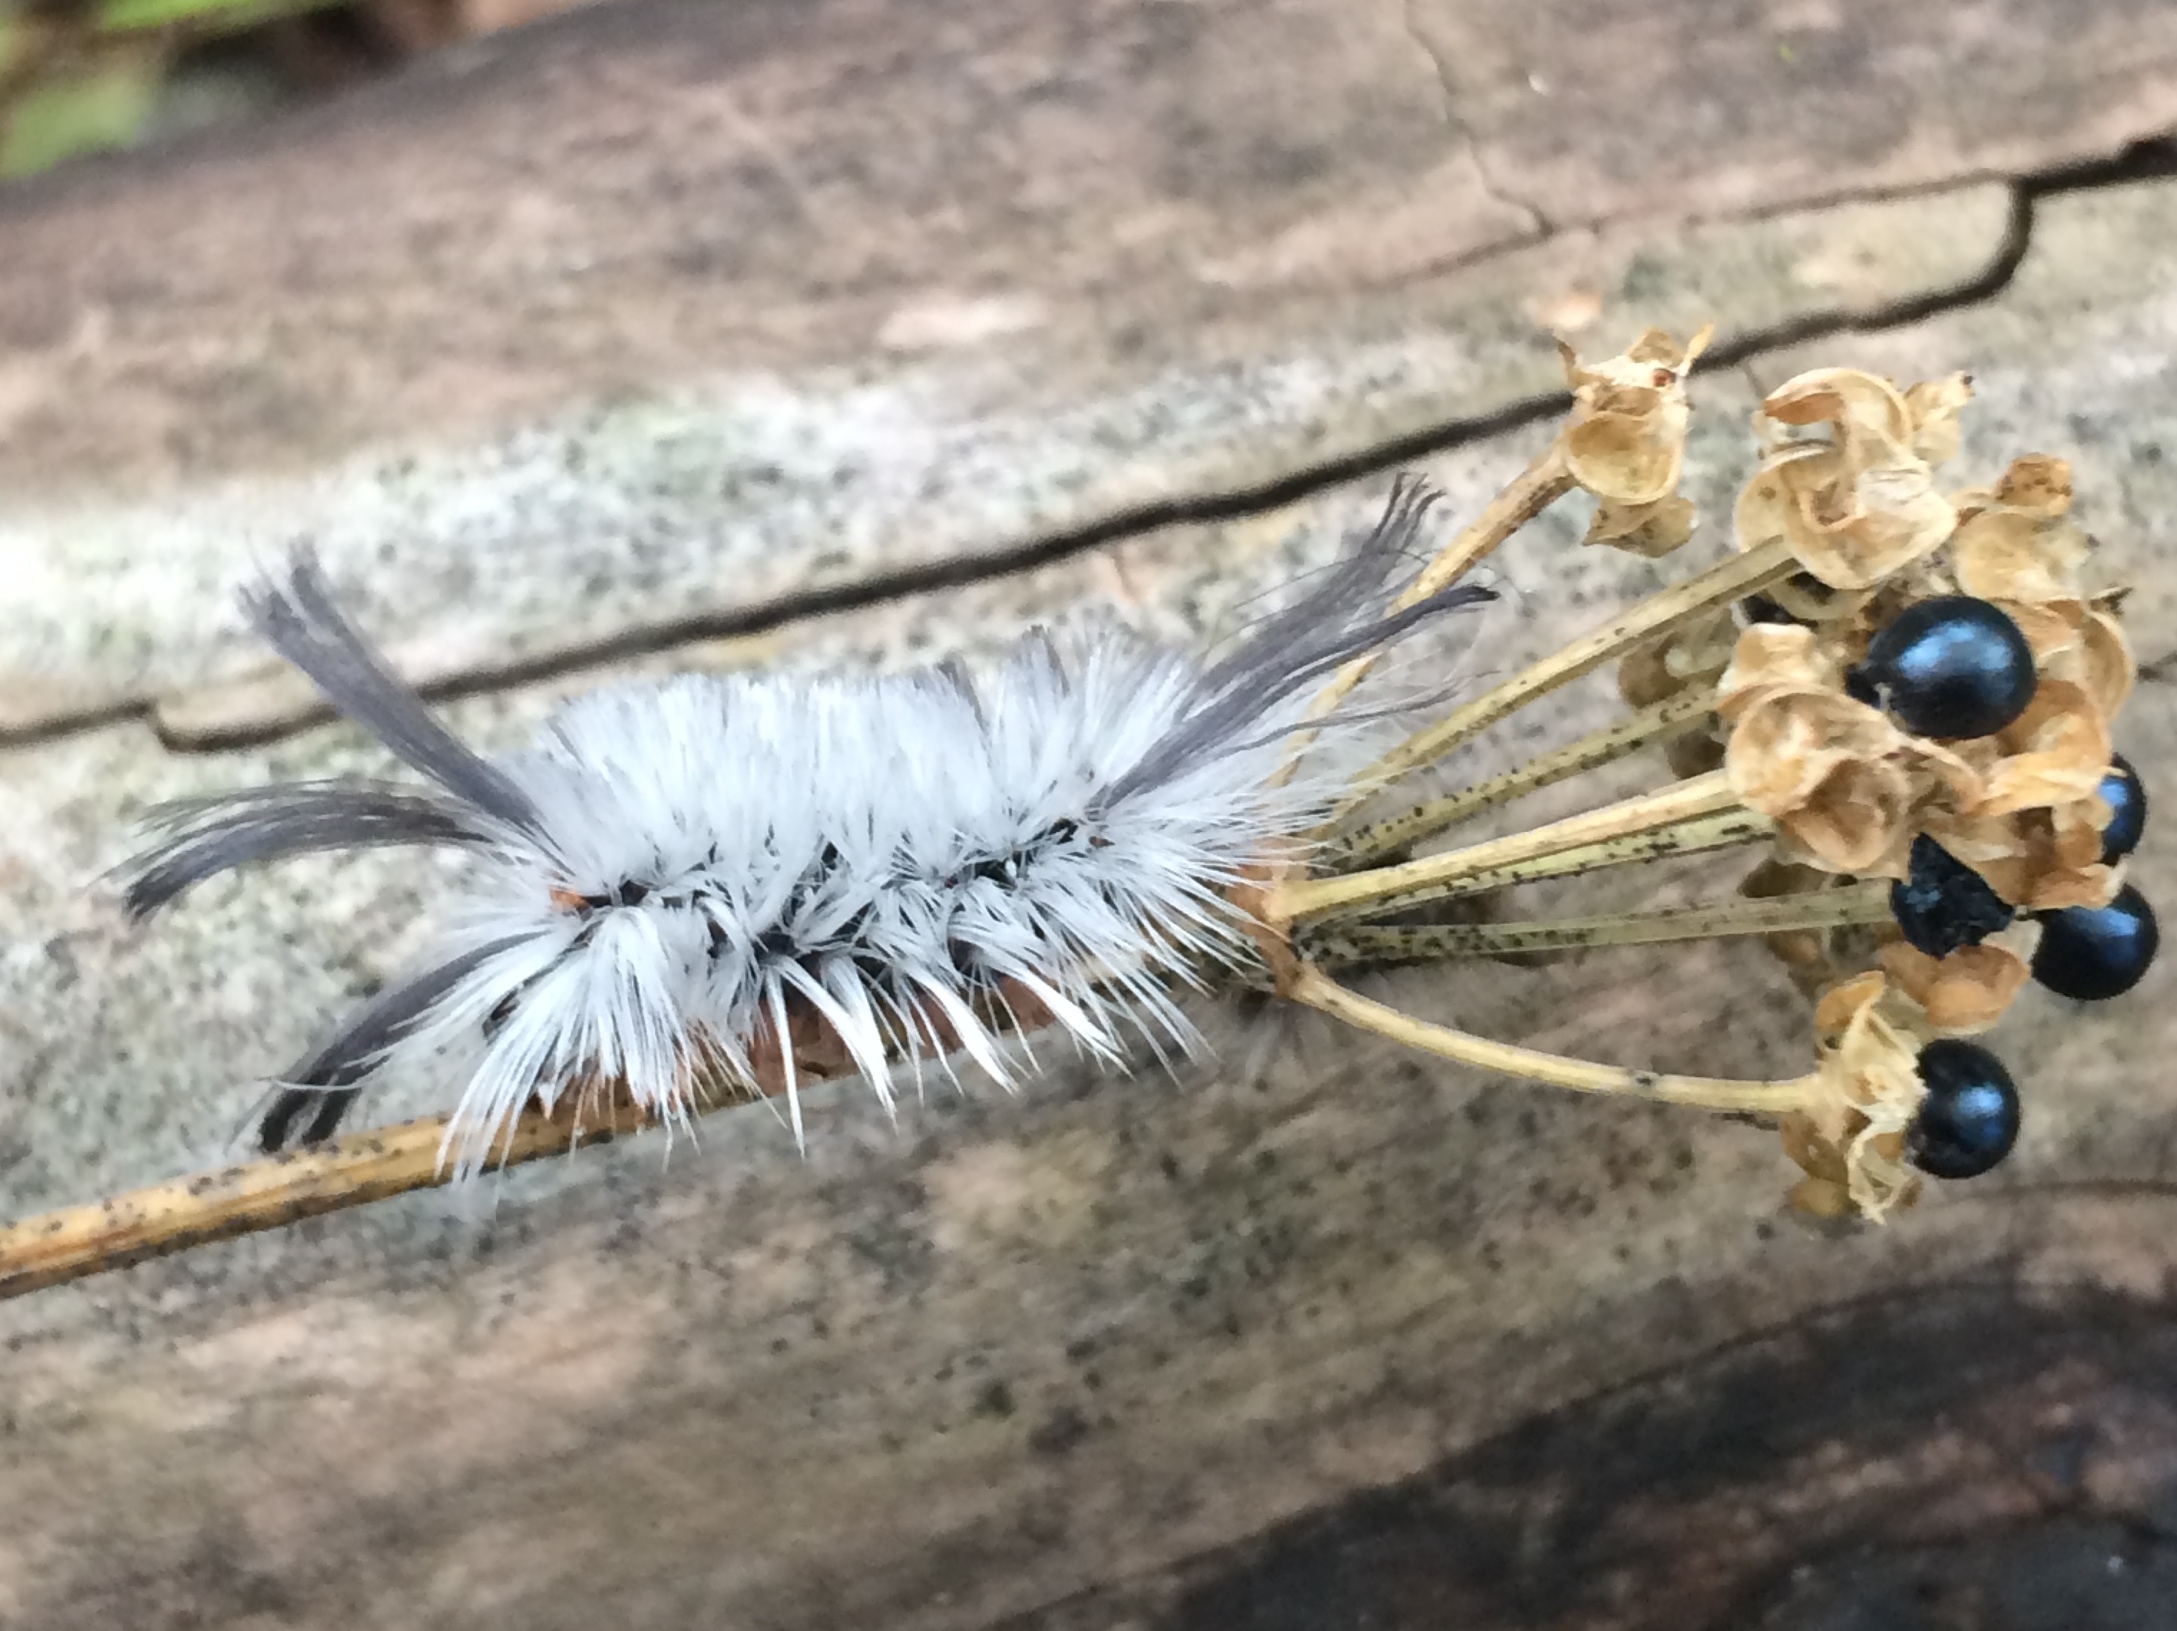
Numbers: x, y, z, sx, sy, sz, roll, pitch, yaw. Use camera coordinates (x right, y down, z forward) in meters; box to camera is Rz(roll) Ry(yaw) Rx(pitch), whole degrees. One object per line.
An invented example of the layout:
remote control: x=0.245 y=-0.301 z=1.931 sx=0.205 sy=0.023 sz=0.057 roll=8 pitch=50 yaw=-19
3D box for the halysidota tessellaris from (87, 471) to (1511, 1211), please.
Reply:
halysidota tessellaris: x=-0.245 y=0.051 z=1.924 sx=0.637 sy=0.197 sz=0.223 roll=-8 pitch=70 yaw=-11

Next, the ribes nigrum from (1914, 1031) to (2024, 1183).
ribes nigrum: x=0.583 y=0.198 z=1.849 sx=0.101 sy=0.092 sz=0.093 roll=1 pitch=90 yaw=-2

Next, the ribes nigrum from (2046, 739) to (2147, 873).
ribes nigrum: x=0.667 y=-0.008 z=1.845 sx=0.041 sy=0.051 sz=0.069 roll=21 pitch=39 yaw=31

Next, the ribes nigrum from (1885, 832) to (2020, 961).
ribes nigrum: x=0.549 y=0.057 z=1.799 sx=0.048 sy=0.050 sz=0.075 roll=-43 pitch=74 yaw=-11
